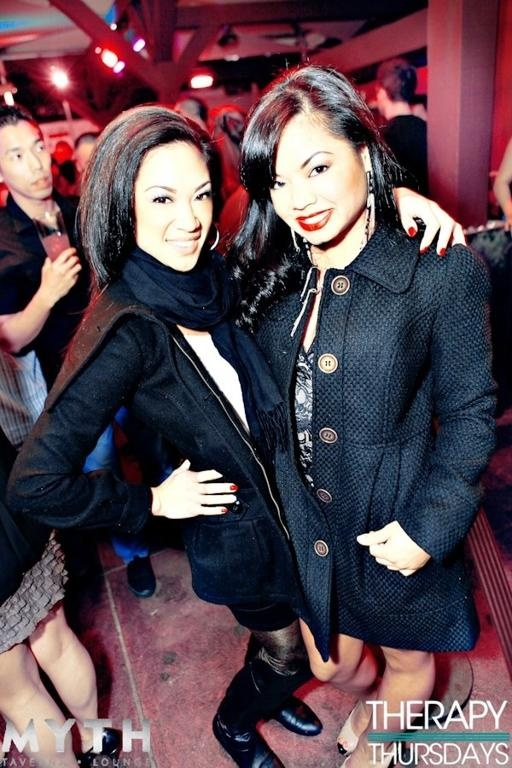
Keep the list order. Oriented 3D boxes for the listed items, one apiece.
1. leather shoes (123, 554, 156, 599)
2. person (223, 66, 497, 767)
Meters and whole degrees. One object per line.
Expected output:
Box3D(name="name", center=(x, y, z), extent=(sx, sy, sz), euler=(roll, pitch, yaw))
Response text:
Box3D(name="leather shoes", center=(-0.542, 0.902, 2.733), extent=(0.140, 0.188, 0.046), euler=(-1, 3, 14))
Box3D(name="person", center=(0.321, 0.287, 1.576), extent=(0.575, 2.021, 0.675), euler=(-14, 32, 0))
